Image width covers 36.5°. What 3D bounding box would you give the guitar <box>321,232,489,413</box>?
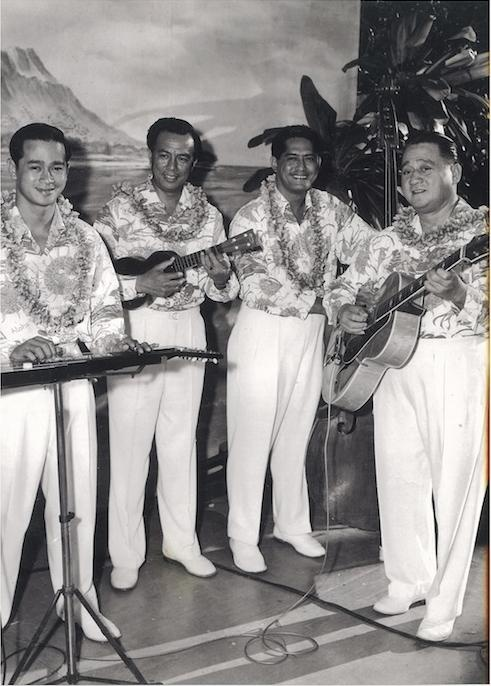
[{"bbox_3d":[0.526,-0.062,2.382,0.091,0.277,0.669,24,-26,-10],"label":"guitar"}]

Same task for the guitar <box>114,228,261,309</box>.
[{"bbox_3d":[-0.273,-0.269,2.633,0.614,0.206,0.081,-14,-7,26],"label":"guitar"}]

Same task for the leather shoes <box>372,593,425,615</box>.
[{"bbox_3d":[0.483,0.848,2.412,0.171,0.067,0.062,-4,30,-5],"label":"leather shoes"}]

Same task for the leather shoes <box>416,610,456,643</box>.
[{"bbox_3d":[0.599,0.877,2.318,0.145,0.073,0.060,-5,10,-24],"label":"leather shoes"}]

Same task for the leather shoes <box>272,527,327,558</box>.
[{"bbox_3d":[0.202,0.748,2.841,0.188,0.072,0.067,14,26,34],"label":"leather shoes"}]
